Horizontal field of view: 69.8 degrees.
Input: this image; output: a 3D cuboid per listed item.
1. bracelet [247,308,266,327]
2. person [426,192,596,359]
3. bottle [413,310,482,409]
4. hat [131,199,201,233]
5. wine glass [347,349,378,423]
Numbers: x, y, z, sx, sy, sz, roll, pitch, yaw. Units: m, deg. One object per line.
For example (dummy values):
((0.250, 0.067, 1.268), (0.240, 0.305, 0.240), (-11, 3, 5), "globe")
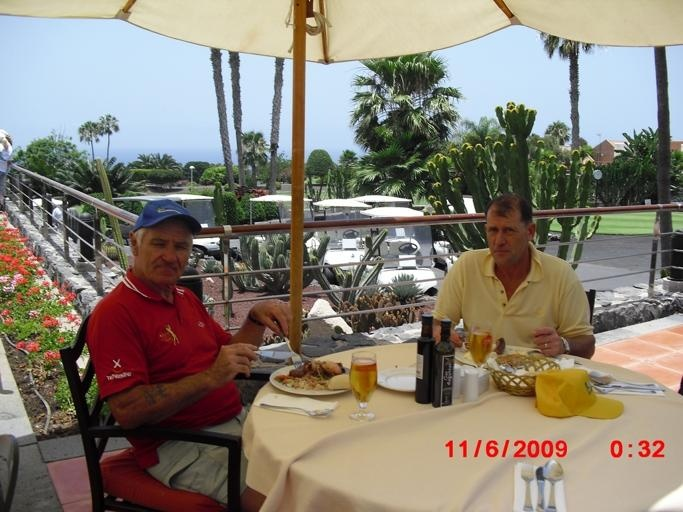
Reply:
((-0.404, 0.290, 2.340), (0.065, 0.035, 0.083), (21, -23, 25), "bracelet")
((0.890, 0.179, 2.475), (0.503, 1.191, 0.584), (1, 2, 23), "person")
((0.359, 0.361, 1.780), (0.128, 0.345, 0.133), (1, 5, 0), "bottle")
((-0.750, -0.180, 2.170), (0.184, 0.148, 0.284), (-5, 11, -39), "hat")
((0.061, 0.428, 1.666), (0.085, 0.238, 0.092), (-4, 15, -30), "wine glass")
